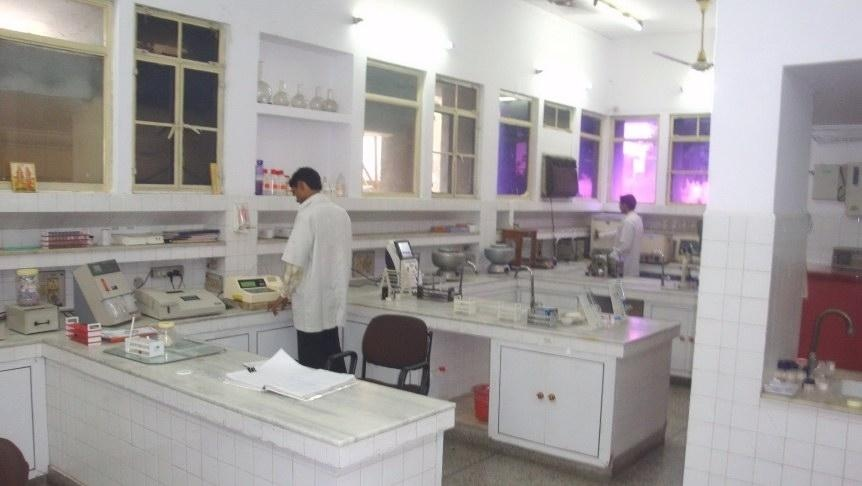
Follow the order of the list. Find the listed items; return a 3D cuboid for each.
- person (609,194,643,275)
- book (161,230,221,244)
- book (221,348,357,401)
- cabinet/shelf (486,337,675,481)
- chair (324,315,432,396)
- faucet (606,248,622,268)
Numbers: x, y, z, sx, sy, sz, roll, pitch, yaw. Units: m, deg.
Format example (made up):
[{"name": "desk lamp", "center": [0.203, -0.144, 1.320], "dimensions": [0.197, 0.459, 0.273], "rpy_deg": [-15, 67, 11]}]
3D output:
[{"name": "person", "center": [2.807, -0.092, 8.684], "dimensions": [0.337, 1.169, 0.528], "rpy_deg": [2, 7, 30]}, {"name": "book", "center": [-2.444, -0.071, 6.216], "dimensions": [0.554, 0.127, 0.148], "rpy_deg": [-5, 7, -29]}, {"name": "book", "center": [-1.069, 1.006, 4.551], "dimensions": [0.584, 0.137, 0.479], "rpy_deg": [5, 8, 34]}, {"name": "cabinet/shelf", "center": [1.541, 1.393, 6.120], "dimensions": [1.381, 0.962, 1.385], "rpy_deg": [2, 3, 45]}, {"name": "chair", "center": [-0.482, 1.005, 5.989], "dimensions": [0.820, 1.088, 0.834], "rpy_deg": [1, -7, 25]}, {"name": "faucet", "center": [2.566, 0.209, 8.534], "dimensions": [0.199, 0.270, 0.276], "rpy_deg": [-1, -9, -21]}]
